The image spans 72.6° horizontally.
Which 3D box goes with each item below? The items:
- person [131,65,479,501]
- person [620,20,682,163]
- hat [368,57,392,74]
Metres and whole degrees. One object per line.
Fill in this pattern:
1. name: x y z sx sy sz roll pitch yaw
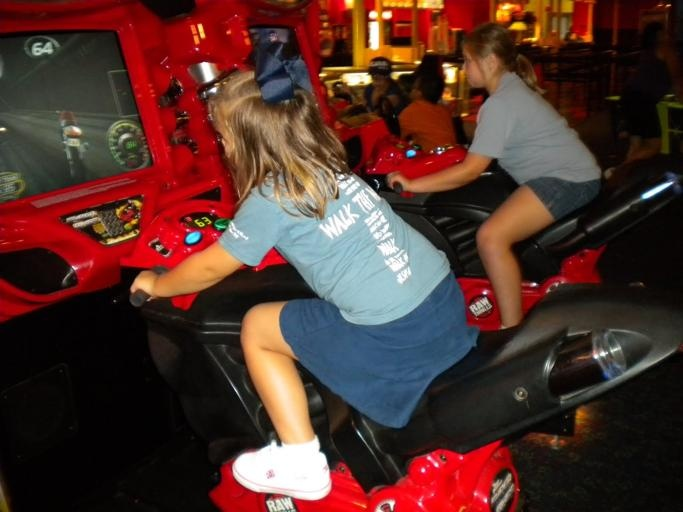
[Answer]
1. person: -0.126 0.026 1.634 1.121 1.150 0.994 13 33 15
2. person: 3.615 -1.874 5.470 0.524 1.566 0.418 6 28 29
3. hat: 0.346 -1.700 4.238 0.194 0.099 0.247 -3 23 3
